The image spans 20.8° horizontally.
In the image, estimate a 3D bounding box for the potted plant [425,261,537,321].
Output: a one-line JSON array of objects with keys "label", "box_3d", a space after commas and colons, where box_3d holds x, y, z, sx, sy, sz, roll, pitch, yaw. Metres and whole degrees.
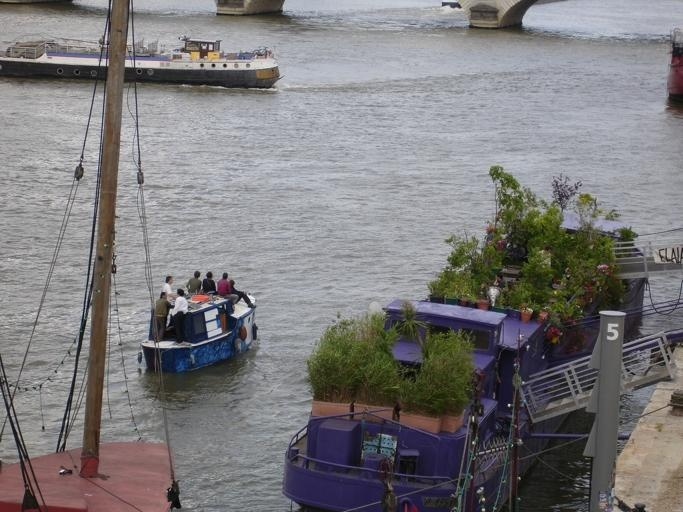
[{"label": "potted plant", "box_3d": [7.014, 1.708, 93.160, 3.246, 1.121, 3.840, 8, 16, 18]}]

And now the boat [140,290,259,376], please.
[{"label": "boat", "box_3d": [-7.599, 4.241, 97.113, 5.680, 3.958, 4.622, 5, 14, 10]}]
